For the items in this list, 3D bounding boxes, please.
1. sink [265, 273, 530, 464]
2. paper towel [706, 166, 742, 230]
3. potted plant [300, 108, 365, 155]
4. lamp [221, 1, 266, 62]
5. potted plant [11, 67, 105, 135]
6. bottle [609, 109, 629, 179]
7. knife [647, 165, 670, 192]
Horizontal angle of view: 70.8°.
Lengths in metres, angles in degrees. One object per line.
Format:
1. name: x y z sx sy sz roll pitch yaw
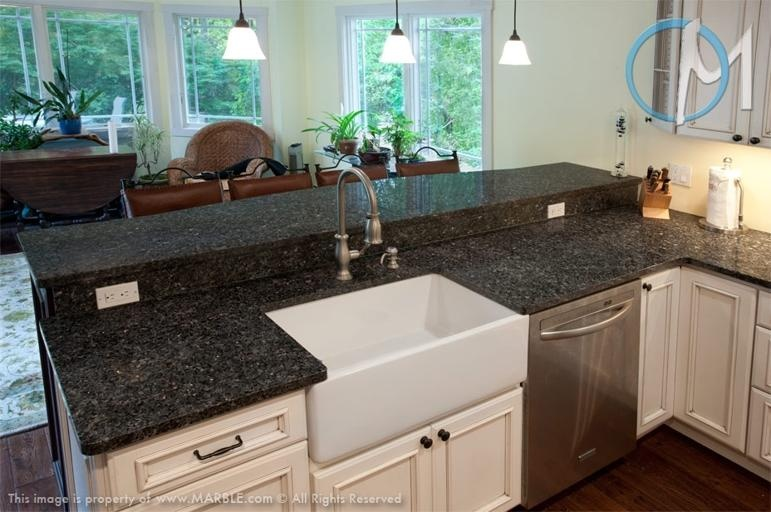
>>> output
1. sink: 0.039 0.182 2.271 1.111 0.397 0.744 -13 21 -34
2. paper towel: 1.900 -0.334 3.050 0.184 0.359 0.161 3 21 20
3. potted plant: -0.502 -1.405 6.134 0.764 0.391 0.777 18 34 42
4. lamp: -0.954 -1.499 3.561 0.229 0.399 0.725 -8 19 -12
5. potted plant: -3.778 -1.775 6.355 0.946 0.579 0.935 -4 15 -26
6. bottle: 1.581 -0.759 3.668 0.093 0.405 0.364 4 20 22
7. knife: 1.663 -0.469 3.326 0.103 0.177 0.100 4 49 12
